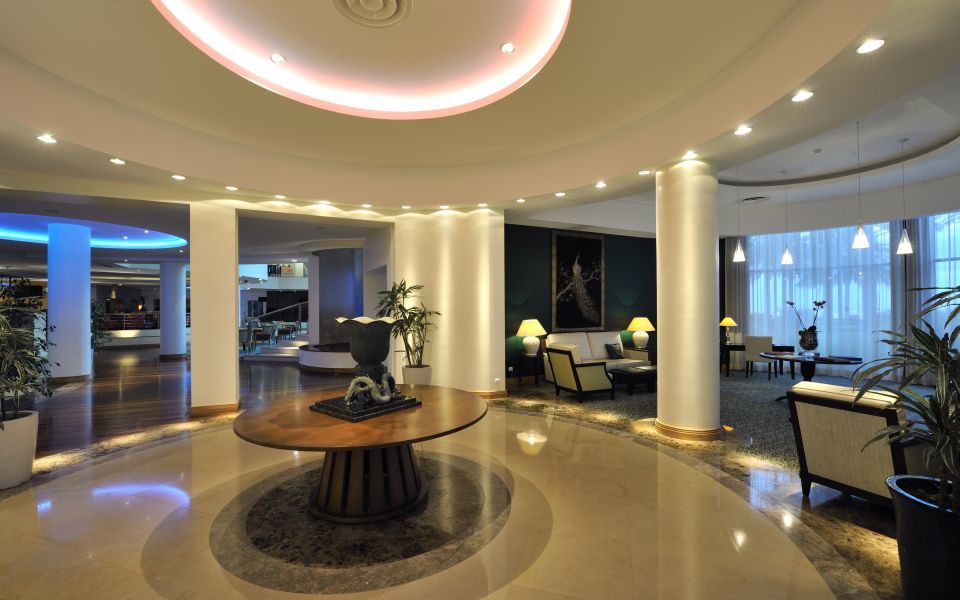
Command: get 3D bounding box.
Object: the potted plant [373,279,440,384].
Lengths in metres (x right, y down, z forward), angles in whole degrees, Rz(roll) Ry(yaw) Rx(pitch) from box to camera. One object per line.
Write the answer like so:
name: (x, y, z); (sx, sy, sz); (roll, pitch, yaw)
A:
potted plant: (-1.258, 0.492, 9.525); (1.051, 1.331, 1.005); (-3, -1, 3)

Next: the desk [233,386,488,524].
desk: (-1.019, 1.766, 6.380); (2.538, 0.893, 2.512); (-14, -9, -33)

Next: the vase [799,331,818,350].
vase: (6.017, 0.766, 9.933); (0.227, 0.373, 0.348); (-3, -1, 27)

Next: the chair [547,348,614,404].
chair: (1.747, 1.311, 9.811); (1.064, 0.933, 0.904); (0, 0, -19)

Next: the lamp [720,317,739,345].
lamp: (5.736, 0.684, 12.475); (0.346, 0.628, 1.004); (-3, -1, 25)

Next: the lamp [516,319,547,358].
lamp: (1.012, 0.761, 10.715); (0.671, 0.711, 0.675); (-2, 3, 25)

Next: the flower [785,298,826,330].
flower: (7.163, 0.314, 11.851); (0.689, 0.709, 0.455); (-2, 1, 33)

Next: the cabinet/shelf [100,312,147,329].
cabinet/shelf: (-12.383, 0.758, 18.969); (1.192, 0.555, 1.074); (-2, -2, -37)

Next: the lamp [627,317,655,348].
lamp: (3.442, 0.716, 11.779); (0.656, 0.636, 0.646); (-1, -3, -10)

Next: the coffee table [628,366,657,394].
coffee table: (3.056, 1.477, 10.294); (0.656, 0.306, 0.427); (-1, -2, -26)
